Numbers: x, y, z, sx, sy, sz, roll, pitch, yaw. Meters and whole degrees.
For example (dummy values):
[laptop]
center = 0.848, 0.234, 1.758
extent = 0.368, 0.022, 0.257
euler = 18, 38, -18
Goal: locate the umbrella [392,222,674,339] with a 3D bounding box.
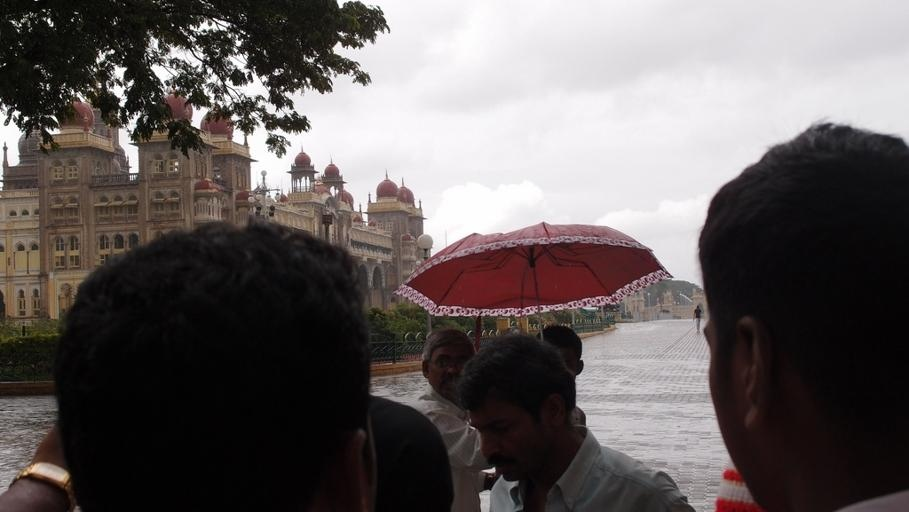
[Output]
[umbrella]
center = 0.530, 0.119, 5.960
extent = 1.695, 0.500, 1.104
euler = -8, -4, 38
